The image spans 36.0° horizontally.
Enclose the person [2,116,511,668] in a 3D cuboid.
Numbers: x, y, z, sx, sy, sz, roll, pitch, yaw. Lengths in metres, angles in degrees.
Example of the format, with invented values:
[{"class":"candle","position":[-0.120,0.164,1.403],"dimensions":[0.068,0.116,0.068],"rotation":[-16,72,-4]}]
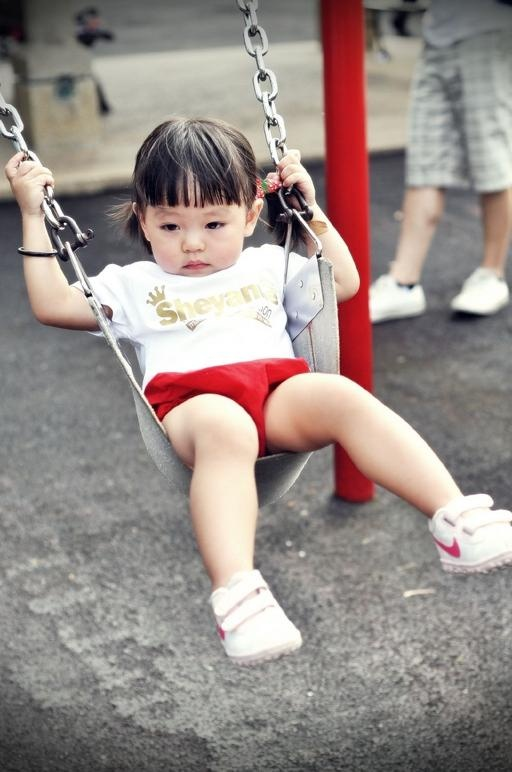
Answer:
[{"class":"person","position":[-0.004,-0.095,1.376],"dimensions":[0.643,0.579,1.041],"rotation":[-9,30,-27]}]

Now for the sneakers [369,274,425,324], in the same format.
[{"class":"sneakers","position":[0.381,-0.221,2.051],"dimensions":[0.077,0.189,0.076],"rotation":[-1,57,-12]}]

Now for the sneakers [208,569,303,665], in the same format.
[{"class":"sneakers","position":[-0.013,0.275,0.997],"dimensions":[0.096,0.064,0.158],"rotation":[-14,19,-20]}]
